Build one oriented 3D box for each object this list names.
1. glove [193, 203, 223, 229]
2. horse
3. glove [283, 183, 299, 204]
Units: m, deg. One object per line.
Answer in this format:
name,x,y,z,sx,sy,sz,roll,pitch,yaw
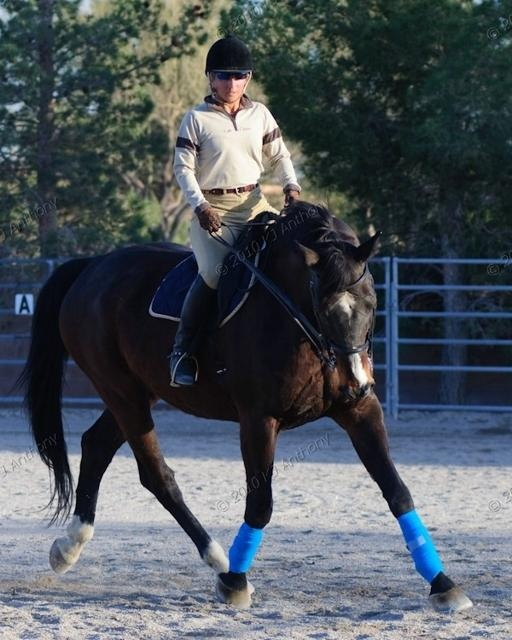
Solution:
glove,-0.320,-0.703,10.482,0.180,0.199,0.164,-2,9,-3
horse,-0.238,0.536,11.055,3.767,2.795,1.104,7,9,44
glove,0.257,-0.881,10.732,0.115,0.137,0.108,-2,44,4
